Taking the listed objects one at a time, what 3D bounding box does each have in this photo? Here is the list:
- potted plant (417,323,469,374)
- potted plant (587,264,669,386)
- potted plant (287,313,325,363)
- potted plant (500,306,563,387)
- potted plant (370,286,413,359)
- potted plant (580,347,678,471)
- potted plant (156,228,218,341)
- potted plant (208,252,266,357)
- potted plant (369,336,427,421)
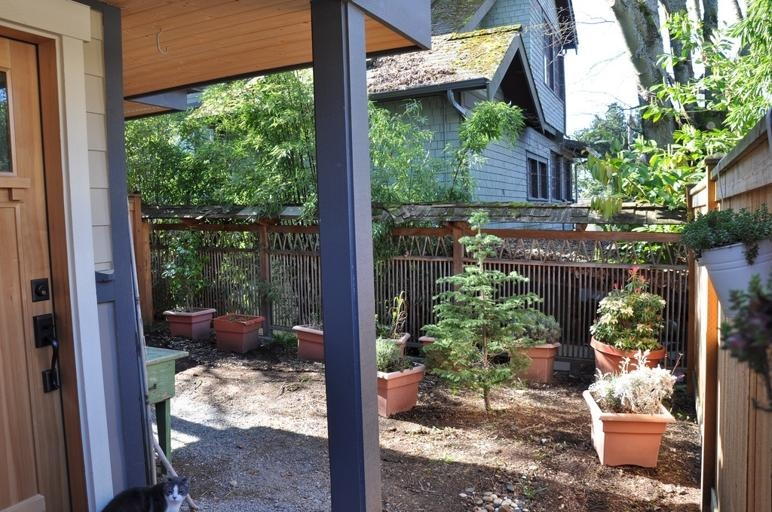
[{"bbox_3d":[0.693,1.140,7.537,0.568,0.364,0.560,1,3,-40],"label":"potted plant"},{"bbox_3d":[2.896,0.779,8.095,1.181,1.740,1.241,-2,-1,35],"label":"potted plant"},{"bbox_3d":[-1.154,1.392,9.707,0.522,0.465,0.670,10,-7,-13],"label":"potted plant"},{"bbox_3d":[2.077,1.291,8.743,0.678,0.840,0.761,1,-5,22],"label":"potted plant"},{"bbox_3d":[0.092,1.025,9.137,0.669,1.007,0.780,-5,3,-3],"label":"potted plant"},{"bbox_3d":[2.584,1.669,6.451,0.873,0.912,0.754,-9,0,44],"label":"potted plant"},{"bbox_3d":[-3.574,0.470,11.221,0.872,1.749,1.523,-5,12,-19],"label":"potted plant"},{"bbox_3d":[-2.513,0.760,10.647,0.838,1.392,1.674,-4,12,-14],"label":"potted plant"},{"bbox_3d":[0.099,1.463,7.820,0.923,1.106,0.769,0,-3,-31],"label":"potted plant"}]
